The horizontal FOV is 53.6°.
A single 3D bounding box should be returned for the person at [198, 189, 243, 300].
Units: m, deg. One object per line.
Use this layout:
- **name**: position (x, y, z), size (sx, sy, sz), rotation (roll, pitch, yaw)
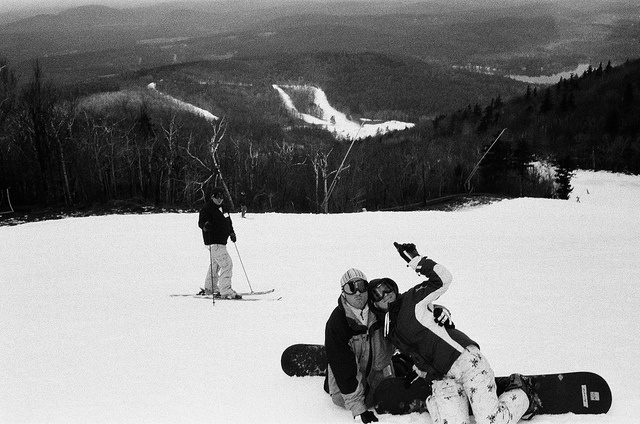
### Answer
- **person**: position (-3.848, 1.290, 23.984), size (1.296, 4.295, 0.848), rotation (-6, 16, -12)
